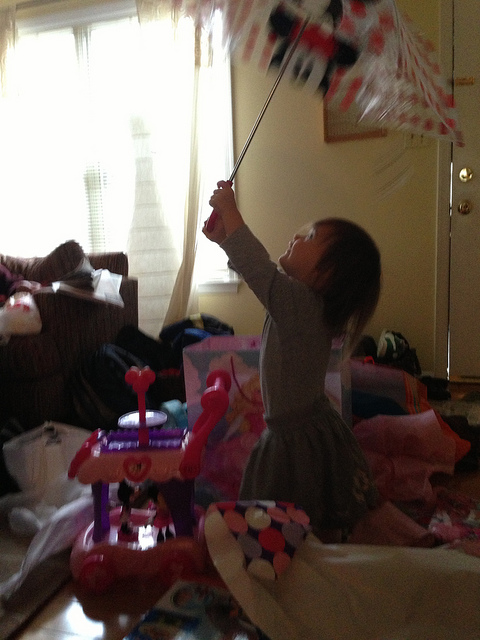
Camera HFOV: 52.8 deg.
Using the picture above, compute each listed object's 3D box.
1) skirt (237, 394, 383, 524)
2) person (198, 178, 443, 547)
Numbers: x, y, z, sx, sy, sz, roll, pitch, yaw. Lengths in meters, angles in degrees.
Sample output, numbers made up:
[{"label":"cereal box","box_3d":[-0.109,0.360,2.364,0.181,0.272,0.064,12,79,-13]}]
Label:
[{"label":"skirt","box_3d":[0.164,0.288,1.003,0.307,0.231,0.126,0,11,-21]},{"label":"person","box_3d":[0.188,0.107,1.151,0.586,0.795,0.441,-1,11,-23]}]
